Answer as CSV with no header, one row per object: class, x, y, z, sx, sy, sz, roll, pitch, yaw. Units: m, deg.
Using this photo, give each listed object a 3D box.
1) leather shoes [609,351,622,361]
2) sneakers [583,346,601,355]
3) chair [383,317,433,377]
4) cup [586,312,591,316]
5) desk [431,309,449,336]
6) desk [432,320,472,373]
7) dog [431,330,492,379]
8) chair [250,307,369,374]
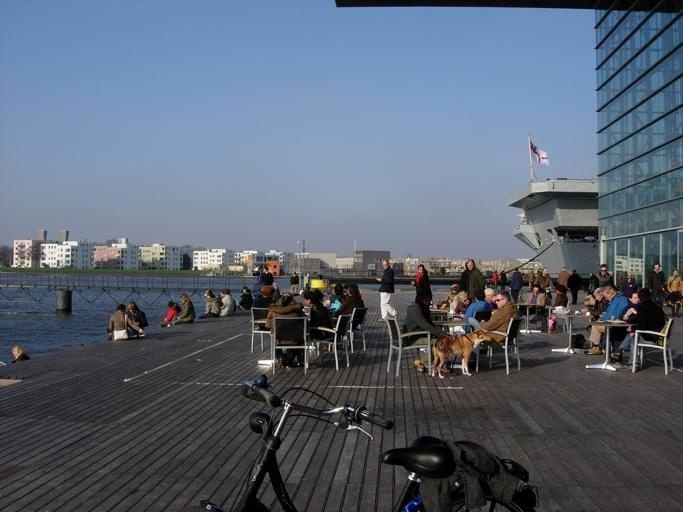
leather shoes,5.409,1.948,11.835,0.168,0.142,0.179,-2,1,5
sneakers,5.433,2.017,12.988,0.361,0.237,0.149,2,1,9
chair,1.214,1.570,10.845,0.807,0.990,0.814,-2,-2,5
cup,5.524,1.273,13.440,0.087,0.094,0.098,-1,0,22
desk,2.112,1.382,12.817,0.531,0.563,0.422,-1,-3,-2
desk,2.007,1.651,10.416,0.894,0.683,0.289,-5,-1,0
dog,2.065,1.676,10.409,1.034,0.752,0.329,-4,-5,2
chair,-0.552,1.577,11.787,1.549,0.799,2.599,-3,-2,14
